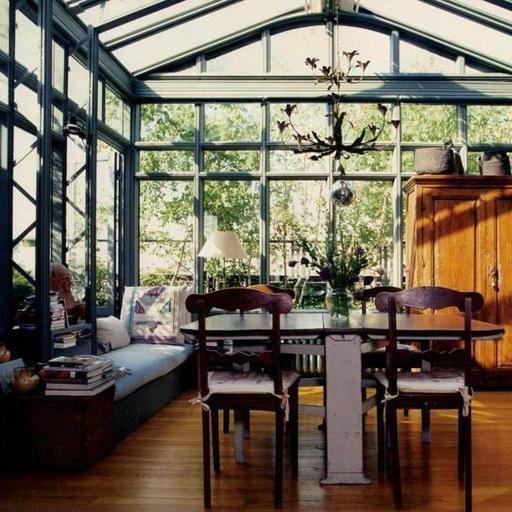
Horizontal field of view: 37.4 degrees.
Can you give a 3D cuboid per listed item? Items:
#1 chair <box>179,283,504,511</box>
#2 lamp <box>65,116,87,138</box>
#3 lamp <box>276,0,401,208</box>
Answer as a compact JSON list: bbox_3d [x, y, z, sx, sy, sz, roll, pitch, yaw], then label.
[{"bbox_3d":[0.554,0.736,4.848,1.841,1.205,0.906,0,7,0],"label":"chair"},{"bbox_3d":[-1.420,-1.015,6.009,0.083,0.134,0.244,-4,-8,1],"label":"lamp"},{"bbox_3d":[0.693,-1.388,6.406,1.083,1.854,2.522,0,8,6],"label":"lamp"}]
